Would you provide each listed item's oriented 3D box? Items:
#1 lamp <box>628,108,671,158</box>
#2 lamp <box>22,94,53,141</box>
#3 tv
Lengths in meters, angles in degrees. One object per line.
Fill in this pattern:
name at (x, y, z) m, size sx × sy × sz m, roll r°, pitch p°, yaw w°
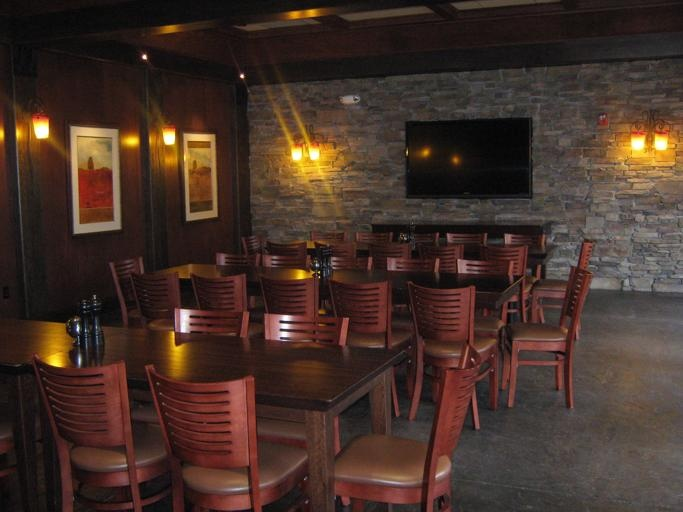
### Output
lamp at (4.783, -1.925, 8.269) m, size 0.791 × 0.894 × 0.291 m, roll 2°, pitch 7°, yaw 30°
lamp at (-3.703, -1.689, 6.535) m, size 0.256 × 0.540 × 0.491 m, roll -7°, pitch 11°, yaw -27°
tv at (2.278, -1.715, 9.203) m, size 1.633 × 0.931 × 0.109 m, roll 1°, pitch 6°, yaw 20°
